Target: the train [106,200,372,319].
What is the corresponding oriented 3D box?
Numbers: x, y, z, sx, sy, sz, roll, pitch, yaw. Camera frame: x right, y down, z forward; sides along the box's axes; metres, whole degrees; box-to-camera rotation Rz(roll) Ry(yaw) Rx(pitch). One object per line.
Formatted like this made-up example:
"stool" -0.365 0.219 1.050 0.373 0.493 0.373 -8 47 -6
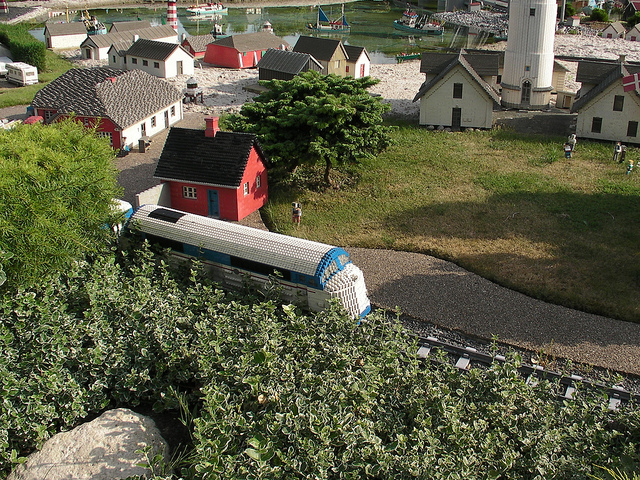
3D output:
"train" -4.440 0.890 25.514 13.903 2.728 2.537 11 27 18
